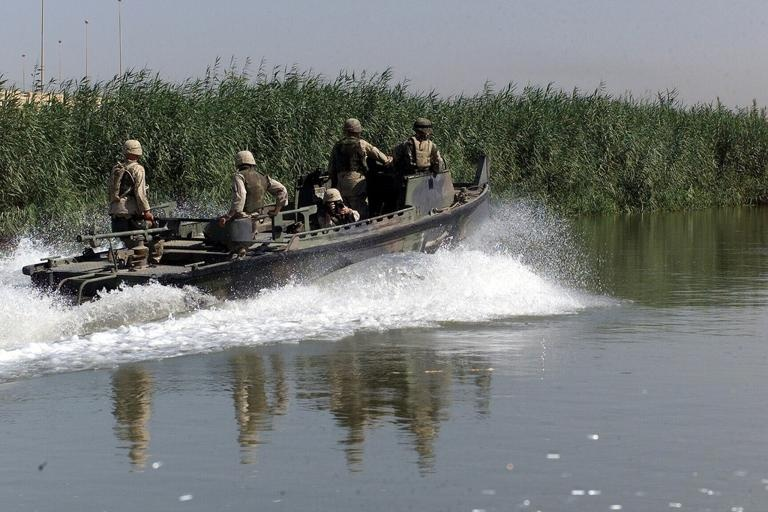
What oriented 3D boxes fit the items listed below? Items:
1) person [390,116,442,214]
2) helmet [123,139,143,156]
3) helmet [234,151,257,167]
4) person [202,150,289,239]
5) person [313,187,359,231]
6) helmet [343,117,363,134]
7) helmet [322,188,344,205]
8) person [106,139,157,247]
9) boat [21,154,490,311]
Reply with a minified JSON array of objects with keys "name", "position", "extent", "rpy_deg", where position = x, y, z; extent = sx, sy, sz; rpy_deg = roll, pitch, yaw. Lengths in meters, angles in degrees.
[{"name":"person","position":[0.542,-1.425,22.918],"extent":[0.770,1.725,0.685],"rpy_deg":[4,19,-13]},{"name":"helmet","position":[-3.743,-1.587,20.226],"extent":[0.276,0.197,0.372],"rpy_deg":[-1,6,-39]},{"name":"helmet","position":[-2.027,-1.409,20.104],"extent":[0.298,0.236,0.335],"rpy_deg":[2,9,10]},{"name":"person","position":[-2.089,-0.862,20.305],"extent":[0.908,1.377,1.098],"rpy_deg":[2,6,-39]},{"name":"person","position":[-0.756,-0.795,21.554],"extent":[0.488,0.411,0.724],"rpy_deg":[-4,28,-11]},{"name":"helmet","position":[-0.520,-2.113,22.208],"extent":[0.269,0.198,0.350],"rpy_deg":[-4,12,-23]},{"name":"helmet","position":[-0.799,-0.920,21.385],"extent":[0.198,0.202,0.265],"rpy_deg":[-4,14,-34]},{"name":"person","position":[-3.716,-1.019,20.137],"extent":[0.756,1.316,0.355],"rpy_deg":[0,5,26]},{"name":"boat","position":[-1.409,0.187,21.289],"extent":[7.925,2.119,2.537],"rpy_deg":[-11,12,-42]}]
